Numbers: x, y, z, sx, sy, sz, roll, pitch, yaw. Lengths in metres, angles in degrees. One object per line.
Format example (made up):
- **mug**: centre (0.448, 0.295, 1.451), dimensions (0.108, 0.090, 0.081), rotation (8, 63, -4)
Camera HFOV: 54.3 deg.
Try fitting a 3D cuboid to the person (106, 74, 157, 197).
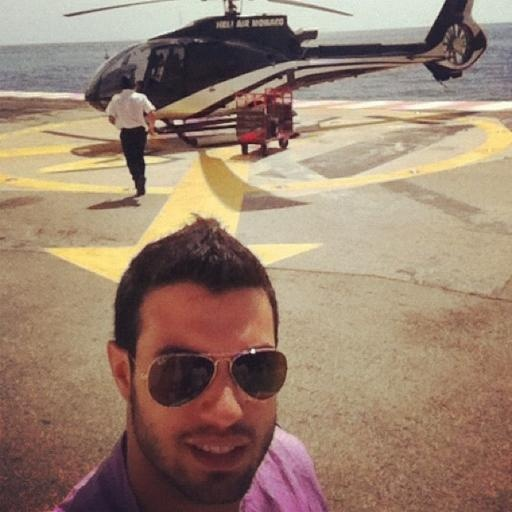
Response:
- **person**: centre (-1.914, -1.892, 7.954), dimensions (0.732, 1.819, 0.979), rotation (-18, 32, -27)
